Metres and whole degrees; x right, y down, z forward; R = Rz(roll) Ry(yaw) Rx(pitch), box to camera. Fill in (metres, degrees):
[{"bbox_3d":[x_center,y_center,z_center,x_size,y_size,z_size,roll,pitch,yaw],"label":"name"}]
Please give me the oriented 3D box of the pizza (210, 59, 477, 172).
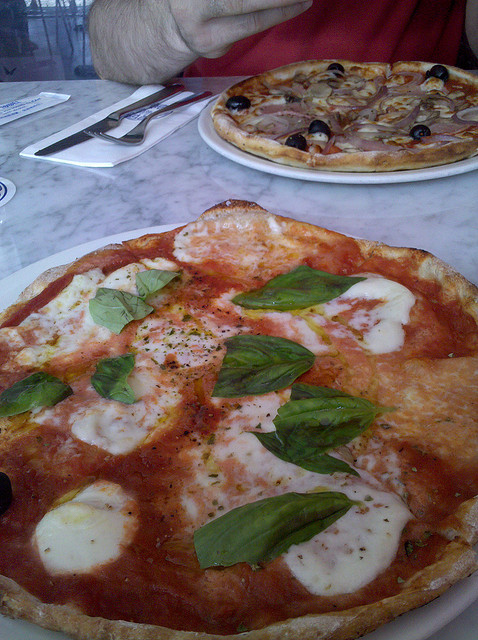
[{"bbox_3d":[0.397,-0.766,2.178,0.976,0.200,1.313,2,27,4],"label":"pizza"}]
